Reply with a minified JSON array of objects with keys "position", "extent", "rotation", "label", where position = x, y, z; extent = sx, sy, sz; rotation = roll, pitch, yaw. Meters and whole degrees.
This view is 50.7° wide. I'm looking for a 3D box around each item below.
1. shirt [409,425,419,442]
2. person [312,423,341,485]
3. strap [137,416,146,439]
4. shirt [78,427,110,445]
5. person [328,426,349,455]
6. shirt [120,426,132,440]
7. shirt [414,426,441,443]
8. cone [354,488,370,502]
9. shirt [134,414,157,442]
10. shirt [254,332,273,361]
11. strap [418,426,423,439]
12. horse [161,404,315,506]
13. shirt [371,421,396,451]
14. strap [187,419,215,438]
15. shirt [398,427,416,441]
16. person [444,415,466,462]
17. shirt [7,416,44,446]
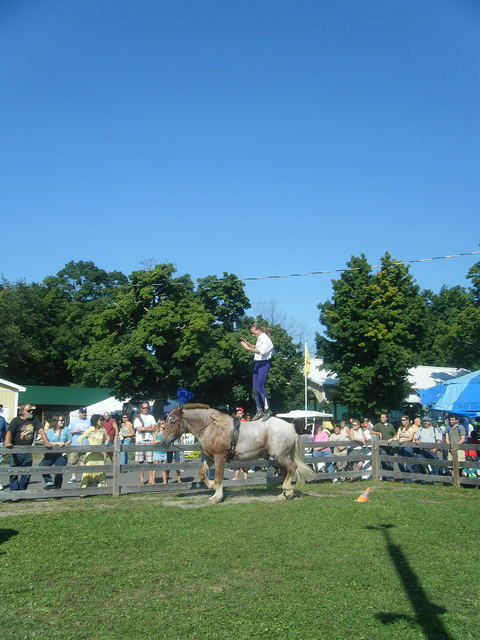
[{"position":[5.100,3.259,14.847],"extent":[0.313,0.362,0.355],"rotation":[6,-11,10],"label":"shirt"},{"position":[2.500,4.137,15.605],"extent":[0.755,1.934,0.620],"rotation":[-15,-15,29],"label":"person"},{"position":[-2.660,2.864,13.545],"extent":[0.099,0.585,0.344],"rotation":[9,-15,-35],"label":"strap"},{"position":[-3.566,2.798,12.245],"extent":[0.784,0.593,0.276],"rotation":[4,-10,-24],"label":"shirt"},{"position":[2.920,3.613,15.115],"extent":[0.604,0.857,0.350],"rotation":[-25,-42,23],"label":"person"},{"position":[-3.029,3.004,13.580],"extent":[0.367,0.457,0.265],"rotation":[-3,-17,-3],"label":"shirt"},{"position":[5.196,3.226,14.175],"extent":[0.728,0.494,0.357],"rotation":[-7,-33,33],"label":"shirt"},{"position":[2.517,3.641,10.582],"extent":[0.289,0.268,0.476],"rotation":[-2,-12,10],"label":"cone"},{"position":[-2.577,2.891,13.578],"extent":[0.788,0.868,0.343],"rotation":[1,-20,-10],"label":"shirt"},{"position":[0.485,0.627,11.424],"extent":[0.499,0.778,0.892],"rotation":[1,-4,-1],"label":"shirt"},{"position":[5.071,3.170,14.274],"extent":[0.042,0.354,0.048],"rotation":[-2,-35,49],"label":"strap"},{"position":[-0.087,2.846,11.010],"extent":[3.187,1.990,0.812],"rotation":[4,-12,-19],"label":"horse"},{"position":[4.205,3.442,14.939],"extent":[0.891,1.080,0.348],"rotation":[3,-45,11],"label":"shirt"},{"position":[-0.836,2.311,10.904],"extent":[0.746,0.037,0.032],"rotation":[-33,17,-8],"label":"strap"},{"position":[4.797,3.318,14.762],"extent":[0.268,0.438,0.470],"rotation":[31,-27,-22],"label":"shirt"},{"position":[5.980,3.240,14.070],"extent":[0.530,1.153,2.894],"rotation":[-4,-12,22],"label":"person"},{"position":[-4.685,2.387,10.984],"extent":[0.379,0.597,0.744],"rotation":[-8,-14,35],"label":"shirt"}]
